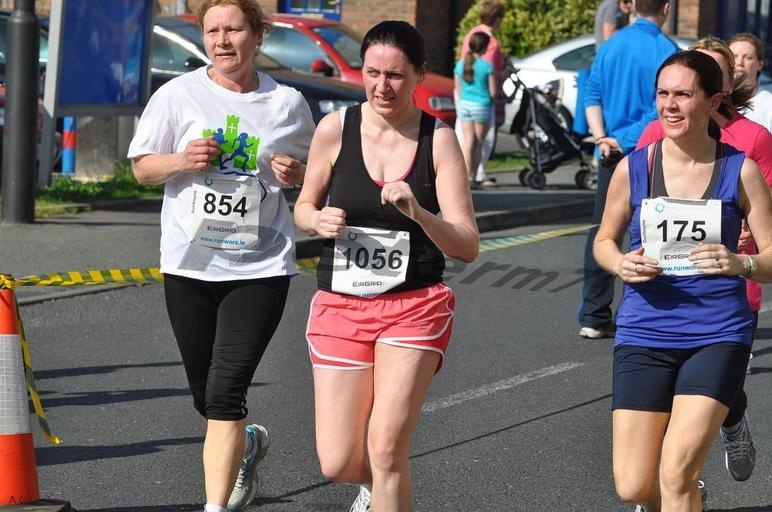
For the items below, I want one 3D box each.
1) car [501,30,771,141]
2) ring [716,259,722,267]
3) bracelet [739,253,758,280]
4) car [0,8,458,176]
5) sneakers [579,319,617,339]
[{"bbox_3d":[3.904,-2.805,15.481,4.739,1.604,2.169,-11,18,-23],"label":"car"},{"bbox_3d":[1.442,0.027,3.781,0.034,0.035,0.015,-1,0,17],"label":"ring"},{"bbox_3d":[1.602,0.053,3.848,0.073,0.117,0.108,0,1,-14],"label":"bracelet"},{"bbox_3d":[-1.992,-2.534,13.177,5.725,1.969,2.641,1,9,5],"label":"car"},{"bbox_3d":[1.740,0.608,7.138,0.323,0.147,0.113,8,-1,-41],"label":"sneakers"}]
